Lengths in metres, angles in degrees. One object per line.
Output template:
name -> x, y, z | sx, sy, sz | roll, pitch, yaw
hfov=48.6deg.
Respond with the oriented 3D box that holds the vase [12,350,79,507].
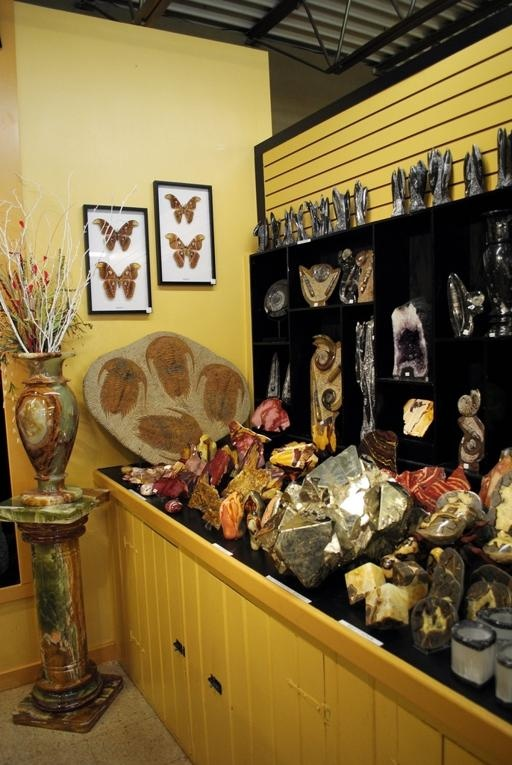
vase -> -0.777, 0.175, 2.130 | 0.220, 0.573, 0.213 | -5, 8, -29
